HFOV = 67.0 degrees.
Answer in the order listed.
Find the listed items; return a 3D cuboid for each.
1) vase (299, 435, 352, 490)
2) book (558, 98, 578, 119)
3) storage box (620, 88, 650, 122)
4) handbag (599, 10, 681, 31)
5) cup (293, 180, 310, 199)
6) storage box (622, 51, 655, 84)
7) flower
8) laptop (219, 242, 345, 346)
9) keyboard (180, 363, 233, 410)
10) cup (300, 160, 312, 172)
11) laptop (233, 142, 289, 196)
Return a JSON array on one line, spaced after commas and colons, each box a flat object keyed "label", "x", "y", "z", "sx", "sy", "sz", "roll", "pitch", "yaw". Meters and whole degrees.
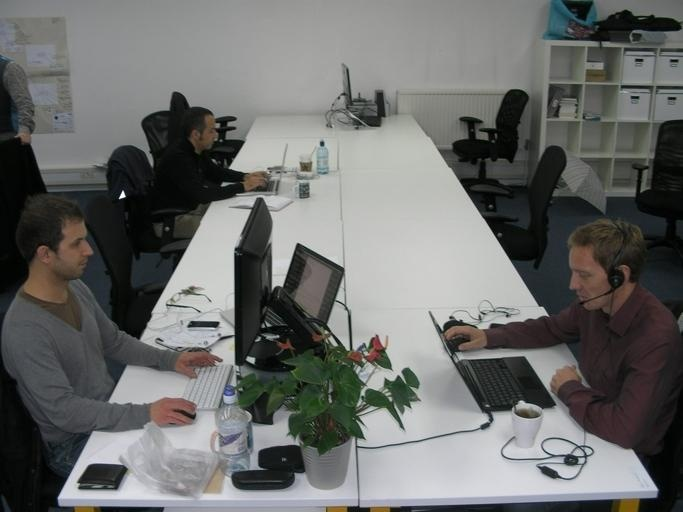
[{"label": "vase", "x": -0.042, "y": 0.619, "z": 1.573, "sx": 0.137, "sy": 0.120, "sz": 0.156, "roll": -1, "pitch": 13, "yaw": -1}, {"label": "book", "x": 2.673, "y": -1.742, "z": 6.077, "sx": 0.190, "sy": 0.090, "sz": 0.244, "roll": 4, "pitch": 26, "yaw": 10}, {"label": "storage box", "x": 3.389, "y": -1.739, "z": 6.014, "sx": 0.356, "sy": 0.375, "sz": 0.371, "roll": 2, "pitch": 16, "yaw": 13}, {"label": "handbag", "x": 3.330, "y": -2.614, "z": 5.789, "sx": 0.597, "sy": 0.133, "sz": 0.424, "roll": 0, "pitch": 31, "yaw": 4}, {"label": "cup", "x": -0.288, "y": -0.497, "z": 3.796, "sx": 0.128, "sy": 0.136, "sz": 0.130, "roll": -1, "pitch": 21, "yaw": 0}, {"label": "storage box", "x": 3.389, "y": -2.144, "z": 5.880, "sx": 0.332, "sy": 0.347, "sz": 0.347, "roll": 1, "pitch": 17, "yaw": 13}, {"label": "flower", "x": -0.011, "y": 0.372, "z": 1.556, "sx": 0.398, "sy": 0.224, "sz": 0.467, "roll": 0, "pitch": 26, "yaw": -1}, {"label": "laptop", "x": -0.212, "y": 0.159, "z": 1.911, "sx": 0.349, "sy": 0.317, "sz": 0.263, "roll": 28, "pitch": 25, "yaw": 25}, {"label": "keyboard", "x": -0.484, "y": 0.485, "z": 1.933, "sx": 0.088, "sy": 0.011, "sz": 0.207, "roll": 5, "pitch": 33, "yaw": 0}, {"label": "cup", "x": -0.289, "y": -0.742, "z": 4.222, "sx": 0.083, "sy": 0.100, "sz": 0.092, "roll": -1, "pitch": 14, "yaw": -2}, {"label": "laptop", "x": -0.603, "y": -0.770, "z": 3.986, "sx": 0.366, "sy": 0.352, "sz": 0.535, "roll": 3, "pitch": 30, "yaw": -1}]
